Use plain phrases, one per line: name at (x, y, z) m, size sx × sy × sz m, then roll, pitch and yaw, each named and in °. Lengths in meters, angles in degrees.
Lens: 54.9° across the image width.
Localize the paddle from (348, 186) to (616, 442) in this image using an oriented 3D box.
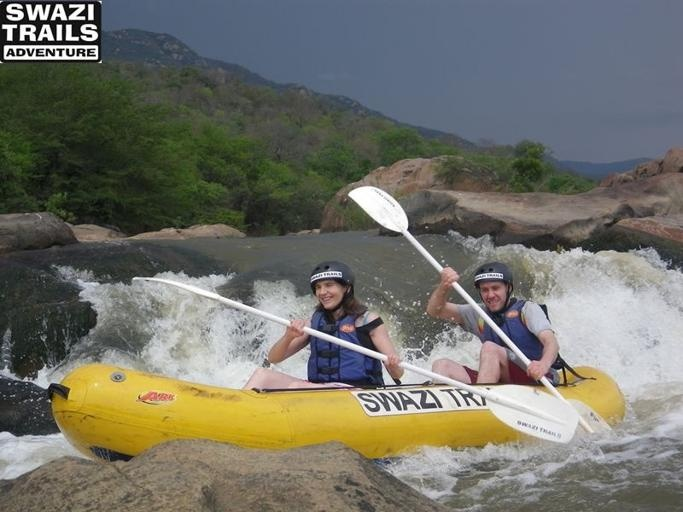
paddle at (2.011, 0.743, 9.132) m, size 4.966 × 0.704 × 0.242 m, roll 44°, pitch 5°, yaw 9°

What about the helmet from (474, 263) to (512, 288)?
helmet at (1.637, 0.226, 7.192) m, size 0.325 × 0.251 × 0.247 m, roll 24°, pitch -30°, yaw -33°

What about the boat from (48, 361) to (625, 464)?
boat at (0.058, 1.486, 6.307) m, size 4.905 × 0.862 × 1.515 m, roll 5°, pitch -7°, yaw -25°

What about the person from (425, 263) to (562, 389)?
person at (1.809, 0.891, 7.987) m, size 0.908 × 0.864 × 1.075 m, roll 32°, pitch 34°, yaw -27°

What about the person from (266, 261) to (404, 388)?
person at (-0.055, 0.917, 6.593) m, size 1.234 × 1.833 × 0.983 m, roll 4°, pitch -9°, yaw -17°

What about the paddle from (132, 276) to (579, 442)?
paddle at (0.007, 1.176, 7.406) m, size 4.395 × 0.620 × 0.310 m, roll 18°, pitch 3°, yaw -1°
